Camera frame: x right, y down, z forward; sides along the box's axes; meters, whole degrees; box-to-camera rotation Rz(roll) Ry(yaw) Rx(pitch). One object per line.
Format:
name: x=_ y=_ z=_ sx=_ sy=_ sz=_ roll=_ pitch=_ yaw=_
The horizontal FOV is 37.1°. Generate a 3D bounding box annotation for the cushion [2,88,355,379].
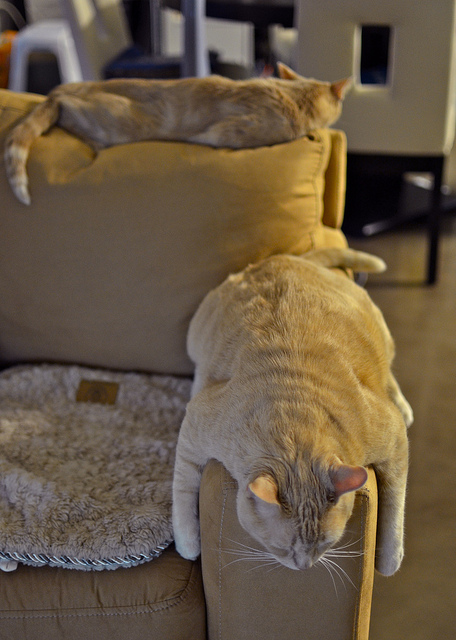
cushion: x=-0.114 y=-0.169 z=1.553 sx=0.705 sy=0.570 sz=0.215 roll=2 pitch=5 yaw=3

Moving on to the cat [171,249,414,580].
cat: x=0.122 y=0.124 z=1.181 sx=0.397 sy=0.268 sz=0.625 roll=-1 pitch=59 yaw=3

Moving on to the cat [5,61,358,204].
cat: x=-0.117 y=-0.449 z=1.473 sx=0.558 sy=0.207 sz=0.358 roll=5 pitch=36 yaw=11

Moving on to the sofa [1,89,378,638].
sofa: x=-0.081 y=0.077 z=1.257 sx=0.680 sy=0.909 sz=0.761 roll=-5 pitch=27 yaw=-4
